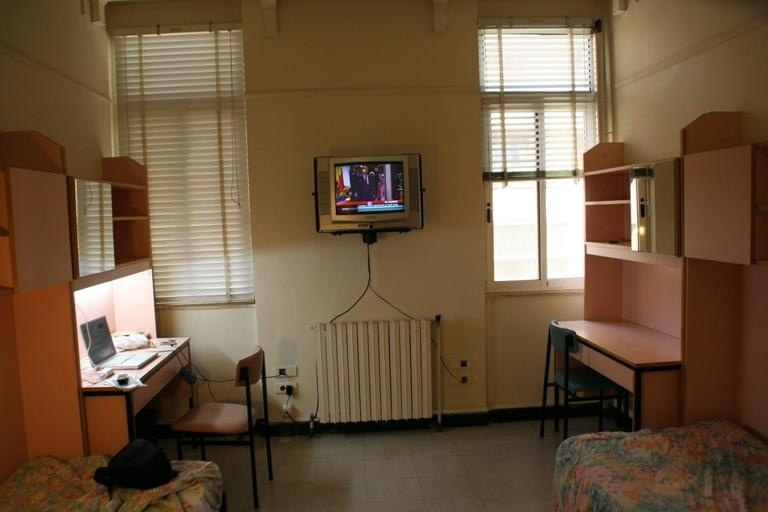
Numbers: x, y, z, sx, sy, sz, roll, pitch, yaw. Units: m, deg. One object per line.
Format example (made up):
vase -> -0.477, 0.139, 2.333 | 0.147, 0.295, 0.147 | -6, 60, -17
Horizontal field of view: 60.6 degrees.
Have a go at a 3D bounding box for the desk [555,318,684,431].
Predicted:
desk -> 2.000, 0.945, 5.426 | 0.723, 0.644, 0.935 | -3, 6, -7

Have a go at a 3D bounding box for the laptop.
laptop -> -2.162, 0.714, 5.271 | 0.395, 0.349, 0.484 | -1, 7, -2

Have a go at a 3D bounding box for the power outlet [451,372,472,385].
power outlet -> 0.693, 1.088, 5.909 | 0.204, 0.107, 0.049 | 2, 2, 6

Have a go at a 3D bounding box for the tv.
tv -> -0.128, -0.547, 5.809 | 1.120, 0.830, 0.617 | -1, 5, 0

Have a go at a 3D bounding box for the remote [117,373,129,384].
remote -> -1.979, 0.916, 4.940 | 0.057, 0.029, 0.077 | 0, 19, -12

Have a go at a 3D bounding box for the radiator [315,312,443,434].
radiator -> -0.082, 0.995, 5.818 | 1.020, 0.892, 0.139 | -1, 4, -2

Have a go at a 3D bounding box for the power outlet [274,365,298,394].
power outlet -> -0.889, 1.088, 5.854 | 0.227, 0.261, 0.115 | 1, 11, -1

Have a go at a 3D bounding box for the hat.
hat -> -1.771, 1.435, 4.614 | 0.418, 0.154, 0.307 | -2, 14, 28
